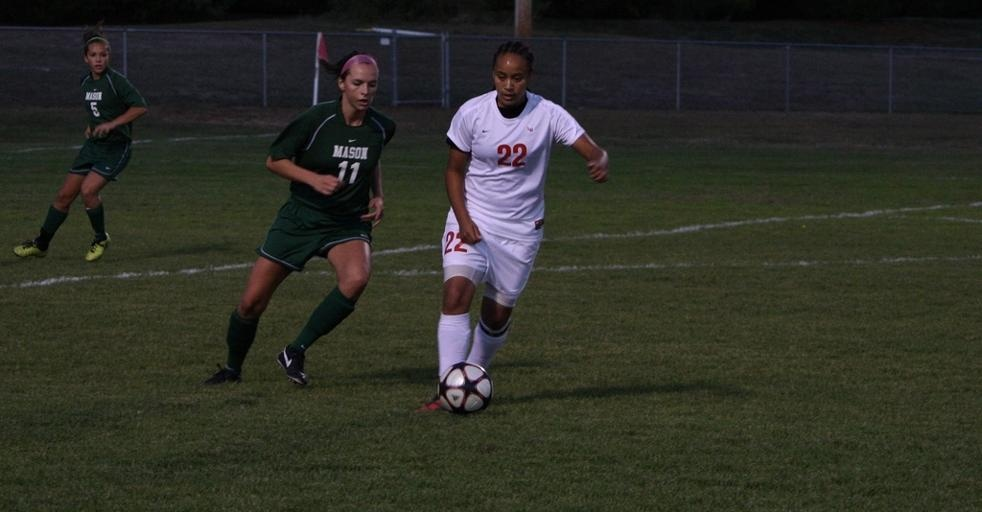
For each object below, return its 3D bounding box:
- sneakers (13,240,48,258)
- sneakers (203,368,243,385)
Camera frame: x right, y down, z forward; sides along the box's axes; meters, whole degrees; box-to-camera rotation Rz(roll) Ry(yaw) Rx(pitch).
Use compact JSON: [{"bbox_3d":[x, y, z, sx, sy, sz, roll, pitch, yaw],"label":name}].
[{"bbox_3d":[-6.400,-0.099,14.670,0.492,0.203,0.214,4,-32,-29],"label":"sneakers"},{"bbox_3d":[-2.882,1.325,11.525,0.430,0.137,0.171,2,-4,-4],"label":"sneakers"}]
